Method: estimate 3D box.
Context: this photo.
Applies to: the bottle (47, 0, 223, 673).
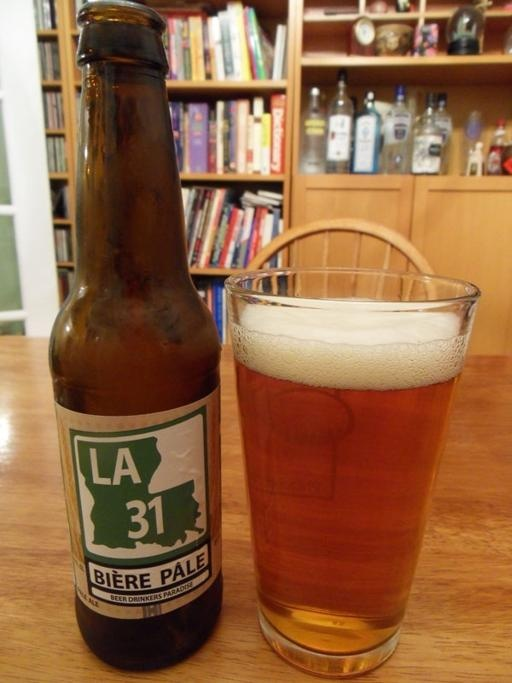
[{"bbox_3d":[-0.068,0.002,0.345,0.101,0.360,0.116,-2,20,-9],"label":"bottle"}]
